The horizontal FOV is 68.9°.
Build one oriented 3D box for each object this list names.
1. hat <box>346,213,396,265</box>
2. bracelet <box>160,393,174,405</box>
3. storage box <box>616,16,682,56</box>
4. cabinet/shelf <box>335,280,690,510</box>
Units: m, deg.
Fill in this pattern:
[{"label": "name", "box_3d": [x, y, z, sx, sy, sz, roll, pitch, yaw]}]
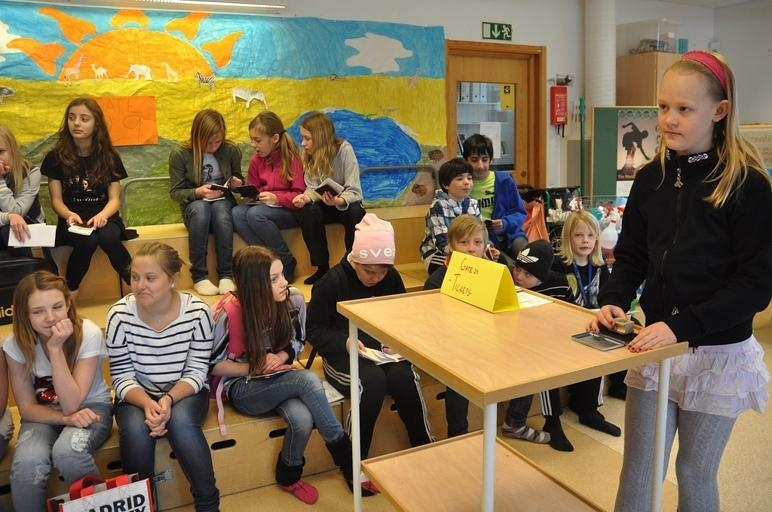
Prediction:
[{"label": "hat", "box_3d": [-0.075, -0.088, 2.878, 0.195, 0.194, 0.262, 0, 2, -11]}, {"label": "bracelet", "box_3d": [-1.018, 0.654, 2.605, 0.045, 0.061, 0.026, 7, 9, -9]}, {"label": "storage box", "box_3d": [3.062, -2.533, 6.536, 0.571, 0.371, 0.484, -9, 13, -34]}, {"label": "cabinet/shelf", "box_3d": [0.429, 0.525, 2.126, 0.782, 0.655, 1.000, -9, 13, -32]}]
